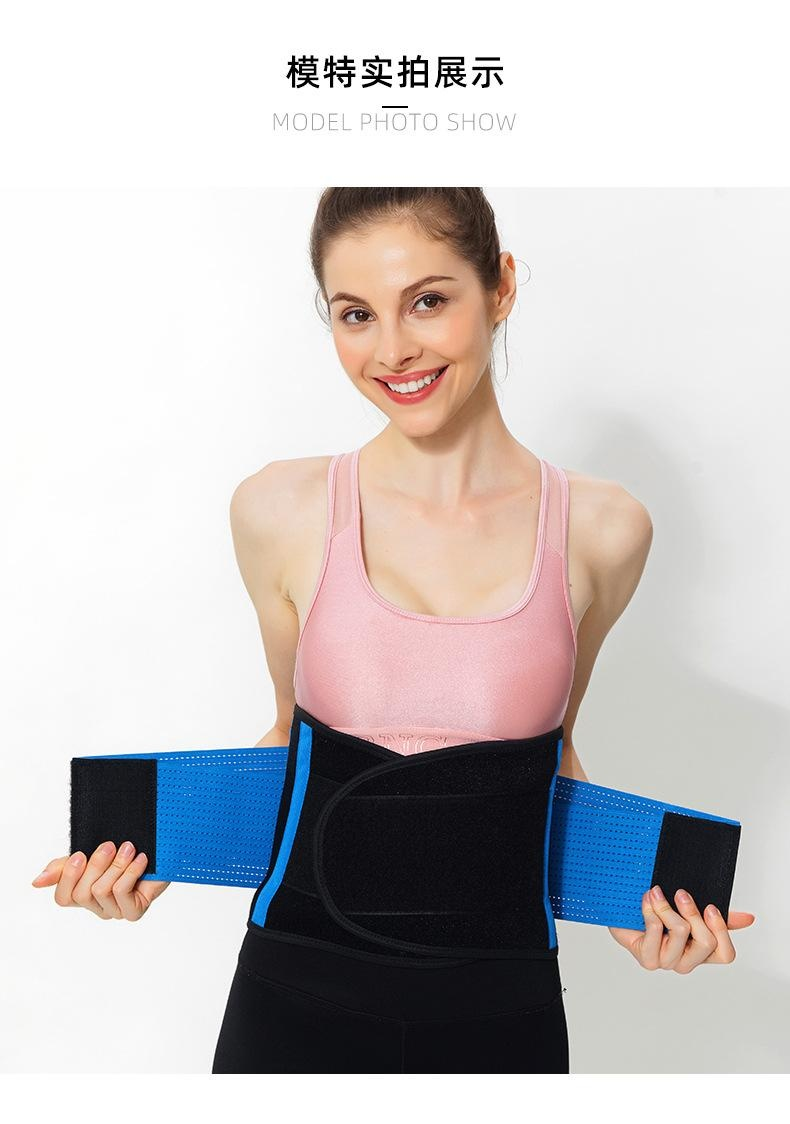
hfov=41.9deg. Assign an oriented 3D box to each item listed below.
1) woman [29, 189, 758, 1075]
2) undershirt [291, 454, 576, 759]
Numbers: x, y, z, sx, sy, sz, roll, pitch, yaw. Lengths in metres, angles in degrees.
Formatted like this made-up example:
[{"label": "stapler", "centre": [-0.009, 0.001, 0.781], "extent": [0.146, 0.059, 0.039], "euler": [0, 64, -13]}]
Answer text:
[{"label": "woman", "centre": [0.034, 0.087, 1.432], "extent": [0.822, 1.193, 0.670], "euler": [-6, 15, -30]}, {"label": "undershirt", "centre": [0.071, 0.054, 1.502], "extent": [0.380, 0.457, 0.277], "euler": [3, 1, -6]}]
